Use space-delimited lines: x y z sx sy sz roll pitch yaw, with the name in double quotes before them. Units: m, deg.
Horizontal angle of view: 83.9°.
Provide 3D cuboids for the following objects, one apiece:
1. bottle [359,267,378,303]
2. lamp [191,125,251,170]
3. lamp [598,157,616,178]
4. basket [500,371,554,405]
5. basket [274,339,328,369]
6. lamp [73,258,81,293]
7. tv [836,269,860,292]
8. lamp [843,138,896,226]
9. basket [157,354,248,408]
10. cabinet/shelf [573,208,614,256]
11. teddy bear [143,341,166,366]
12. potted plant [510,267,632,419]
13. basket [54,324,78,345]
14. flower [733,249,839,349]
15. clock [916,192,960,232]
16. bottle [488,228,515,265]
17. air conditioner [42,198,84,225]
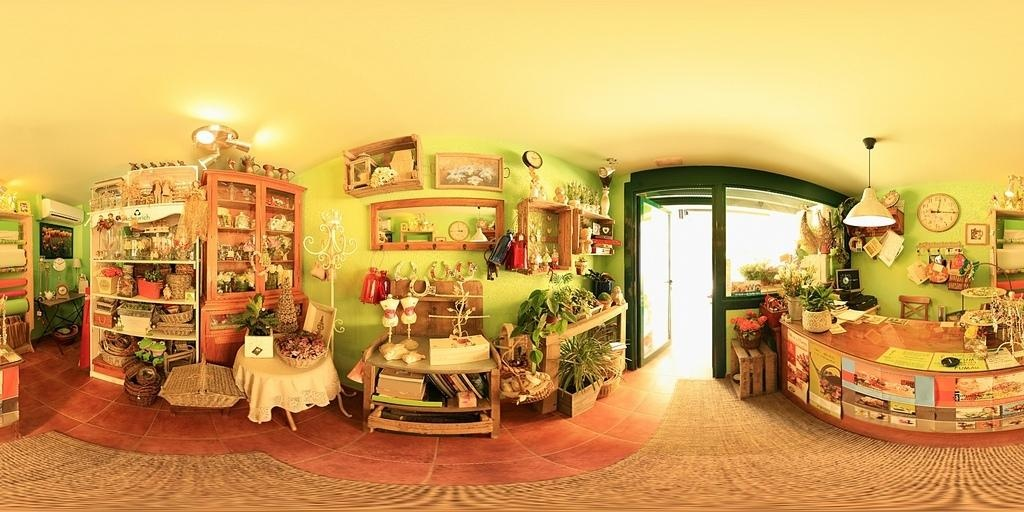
"bottle" -2.161 0.436 8.561 0.214 0.538 0.362 1 1 -13
"lamp" -4.312 -1.629 8.490 0.778 0.569 0.793 0 1 -17
"lamp" 1.535 -1.412 9.142 0.285 0.311 0.356 1 1 5
"basket" 0.196 1.814 8.061 0.714 0.403 0.396 1 1 -2
"basket" -3.034 1.395 8.184 0.708 0.363 0.309 0 1 -11
"lamp" -8.332 0.366 10.896 0.132 0.618 0.462 0 1 -36
"tv" 5.474 0.408 9.295 0.466 0.349 0.141 1 -4 -4
"lamp" 5.362 -1.082 8.493 0.547 1.238 1.140 2 2 33
"basket" -4.447 1.882 8.237 1.077 0.378 0.690 5 43 -17
"cabinet/shelf" 1.274 -0.387 9.092 0.307 0.454 0.902 -3 -5 32
"teddy bear" -5.477 1.480 8.862 0.397 0.370 0.200 7 4 23
"potted plant" 0.821 1.356 8.565 2.660 1.794 1.119 -2 3 -44
"basket" -8.020 1.408 10.233 0.410 0.223 0.333 4 9 11
"flower" 4.375 0.608 9.009 1.264 1.300 1.484 1 1 24
"clock" 6.460 -0.672 8.593 0.630 0.539 0.072 16 5 44
"bottle" -0.155 -0.148 8.402 0.376 0.471 0.166 32 9 37
"air conditioner" -8.381 -0.843 10.606 0.234 0.439 0.673 1 2 22
